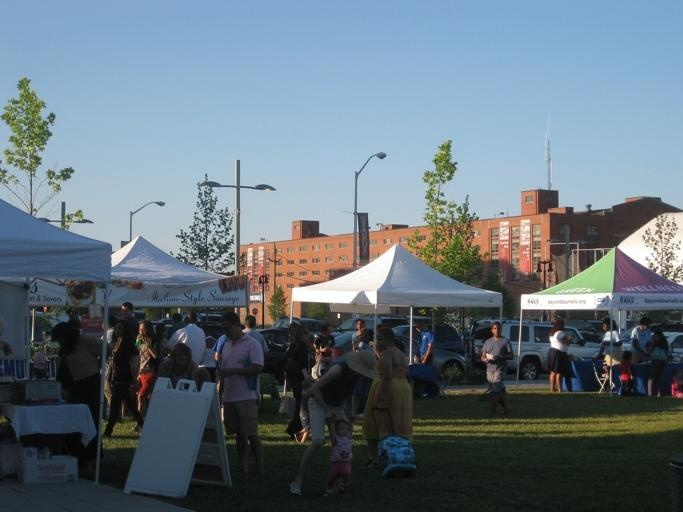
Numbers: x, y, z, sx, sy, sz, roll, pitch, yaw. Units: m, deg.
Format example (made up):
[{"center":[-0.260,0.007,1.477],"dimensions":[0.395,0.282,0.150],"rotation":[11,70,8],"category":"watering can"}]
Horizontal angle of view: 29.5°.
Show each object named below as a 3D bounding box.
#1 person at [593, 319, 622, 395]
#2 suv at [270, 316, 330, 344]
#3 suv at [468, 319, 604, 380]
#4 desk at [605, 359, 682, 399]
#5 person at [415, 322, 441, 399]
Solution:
[{"center":[7.174,2.698,34.620],"dimensions":[0.602,1.910,0.684],"rotation":[2,-2,-40],"category":"person"},{"center":[-1.541,2.314,43.520],"dimensions":[2.180,1.098,1.345],"rotation":[-5,-5,33],"category":"suv"},{"center":[6.504,3.032,41.194],"dimensions":[4.467,1.984,2.079],"rotation":[1,-3,-18],"category":"suv"},{"center":[7.994,3.304,34.559],"dimensions":[1.719,0.834,1.648],"rotation":[1,0,-9],"category":"desk"},{"center":[2.183,2.657,33.403],"dimensions":[0.586,2.049,0.716],"rotation":[-3,-4,-13],"category":"person"}]
